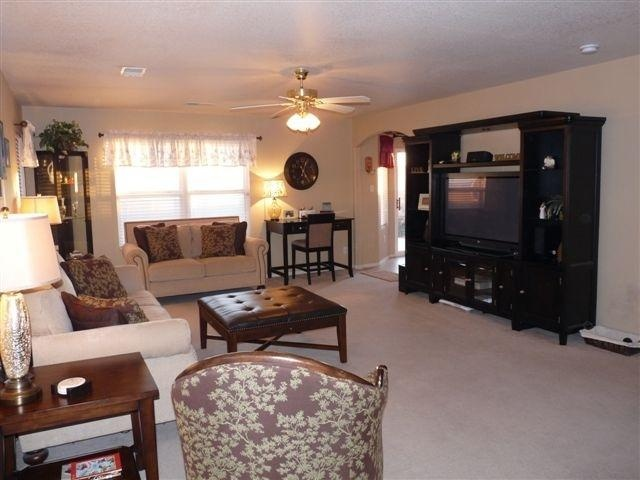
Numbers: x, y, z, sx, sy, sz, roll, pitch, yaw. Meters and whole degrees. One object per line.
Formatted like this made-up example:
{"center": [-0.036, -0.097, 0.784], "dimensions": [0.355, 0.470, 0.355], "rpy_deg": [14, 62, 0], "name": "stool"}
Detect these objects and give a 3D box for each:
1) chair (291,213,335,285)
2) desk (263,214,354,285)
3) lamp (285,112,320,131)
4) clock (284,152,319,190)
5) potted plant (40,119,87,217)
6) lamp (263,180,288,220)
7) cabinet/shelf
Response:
{"center": [-0.111, 0.092, 7.397], "dimensions": [0.705, 1.095, 1.035], "rpy_deg": [-2, 10, -2], "name": "chair"}
{"center": [-0.094, 0.091, 7.312], "dimensions": [0.549, 1.059, 0.628], "rpy_deg": [-6, 9, -33], "name": "desk"}
{"center": [-0.161, -1.188, 4.721], "dimensions": [0.290, 0.187, 0.211], "rpy_deg": [-1, 10, 5], "name": "lamp"}
{"center": [-0.329, -1.153, 7.875], "dimensions": [0.601, 0.621, 0.083], "rpy_deg": [-7, 12, -26], "name": "clock"}
{"center": [-3.319, -1.093, 6.174], "dimensions": [0.542, 0.958, 0.616], "rpy_deg": [-7, 12, -26], "name": "potted plant"}
{"center": [-0.724, -0.663, 7.598], "dimensions": [0.363, 0.660, 0.434], "rpy_deg": [-3, 10, -5], "name": "lamp"}
{"center": [2.017, -0.103, 5.057], "dimensions": [0.667, 2.278, 2.551], "rpy_deg": [-2, 5, -24], "name": "cabinet/shelf"}
